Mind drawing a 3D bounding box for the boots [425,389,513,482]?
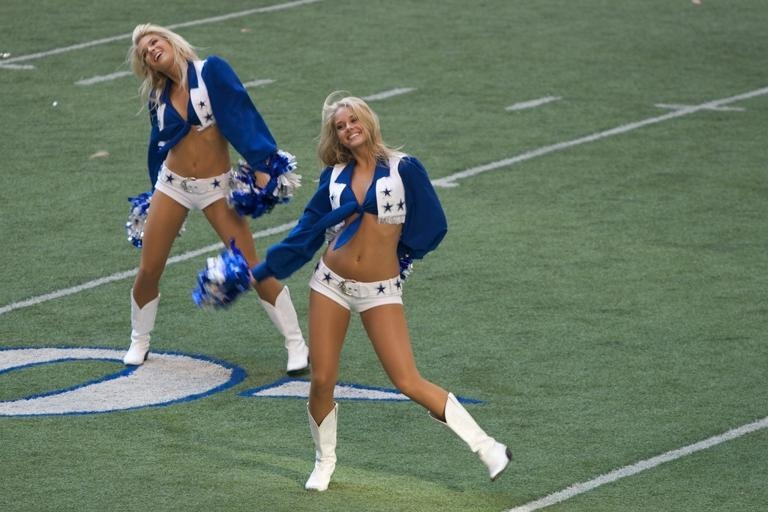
[{"bbox_3d":[0.637,1.229,7.727,0.426,0.263,0.637,-42,83,20],"label":"boots"}]
